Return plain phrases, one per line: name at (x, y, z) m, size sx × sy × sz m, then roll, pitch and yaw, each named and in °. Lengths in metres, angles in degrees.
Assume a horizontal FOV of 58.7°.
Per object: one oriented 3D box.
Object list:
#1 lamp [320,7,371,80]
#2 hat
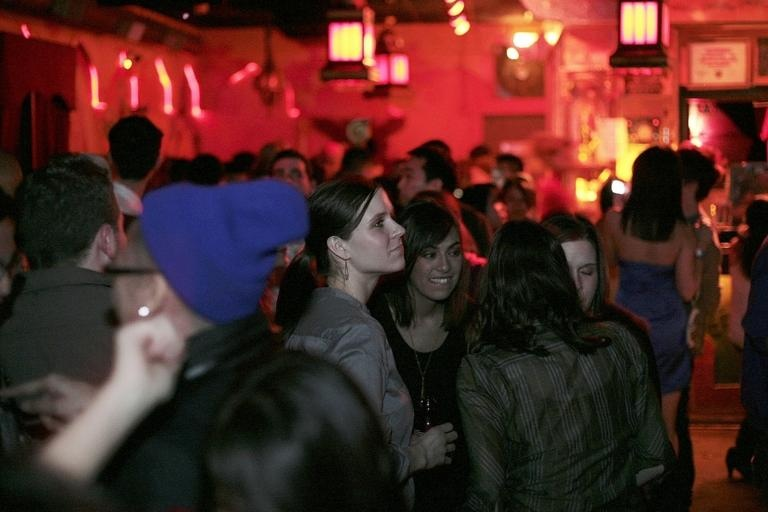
lamp at (-0.401, -2.391, 7.692) m, size 0.607 × 0.904 × 0.365 m, roll 2°, pitch 5°, yaw -12°
hat at (-0.427, -0.019, 1.844) m, size 0.427 × 0.377 × 0.106 m, roll 1°, pitch 5°, yaw -18°
